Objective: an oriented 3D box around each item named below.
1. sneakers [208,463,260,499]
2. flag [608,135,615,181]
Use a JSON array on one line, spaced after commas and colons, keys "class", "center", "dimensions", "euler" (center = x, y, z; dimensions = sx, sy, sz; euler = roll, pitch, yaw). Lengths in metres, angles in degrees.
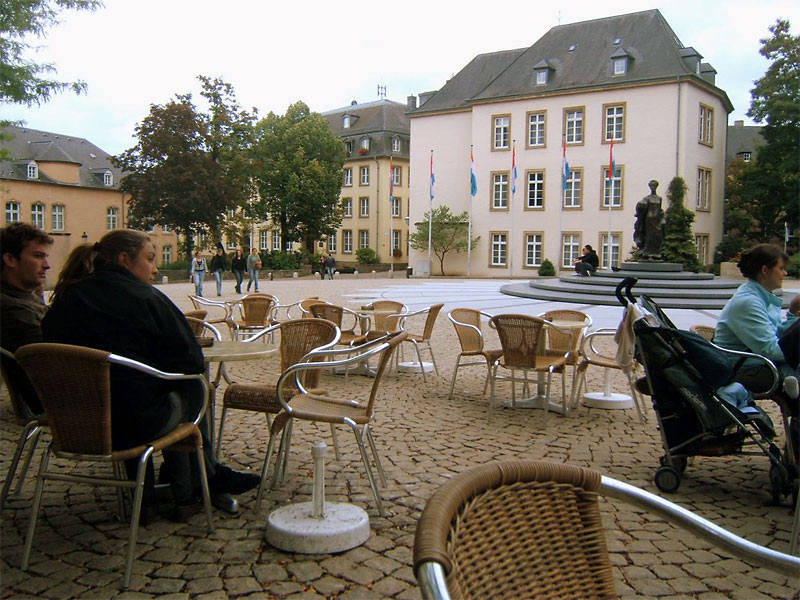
[{"class": "sneakers", "center": [-1.191, 1.281, 4.689], "dimensions": [0.400, 0.255, 0.150], "euler": [-3, 9, -12]}, {"class": "flag", "center": [11.339, -7.633, 35.599], "dimensions": [0.421, 2.422, 3.399], "euler": [1, 4, 17]}]
